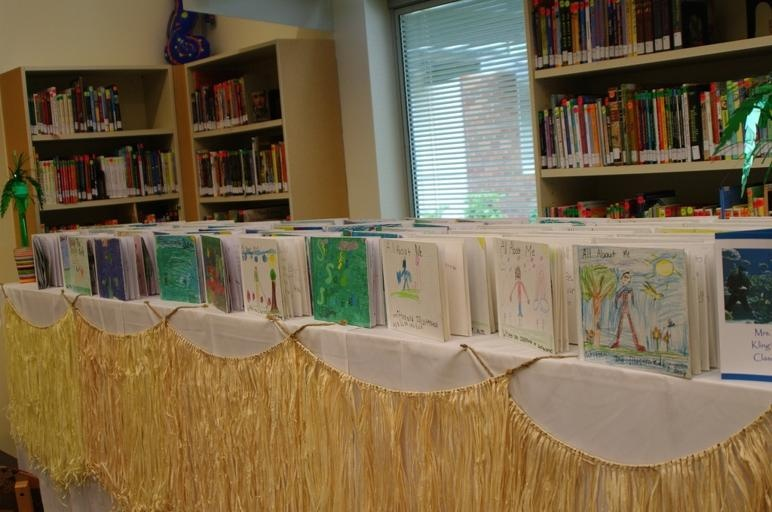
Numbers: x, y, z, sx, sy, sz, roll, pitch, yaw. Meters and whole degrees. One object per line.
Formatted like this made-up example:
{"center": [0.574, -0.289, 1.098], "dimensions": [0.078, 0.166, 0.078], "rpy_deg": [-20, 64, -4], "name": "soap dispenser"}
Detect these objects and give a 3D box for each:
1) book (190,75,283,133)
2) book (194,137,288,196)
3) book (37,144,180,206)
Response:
{"center": [-1.058, -1.086, 5.021], "dimensions": [0.770, 0.345, 0.235], "rpy_deg": [1, 14, 26], "name": "book"}
{"center": [-0.986, -0.626, 5.010], "dimensions": [0.917, 0.395, 0.192], "rpy_deg": [4, 15, 36], "name": "book"}
{"center": [-2.184, -0.643, 5.539], "dimensions": [1.242, 0.411, 0.466], "rpy_deg": [-2, 7, -23], "name": "book"}
